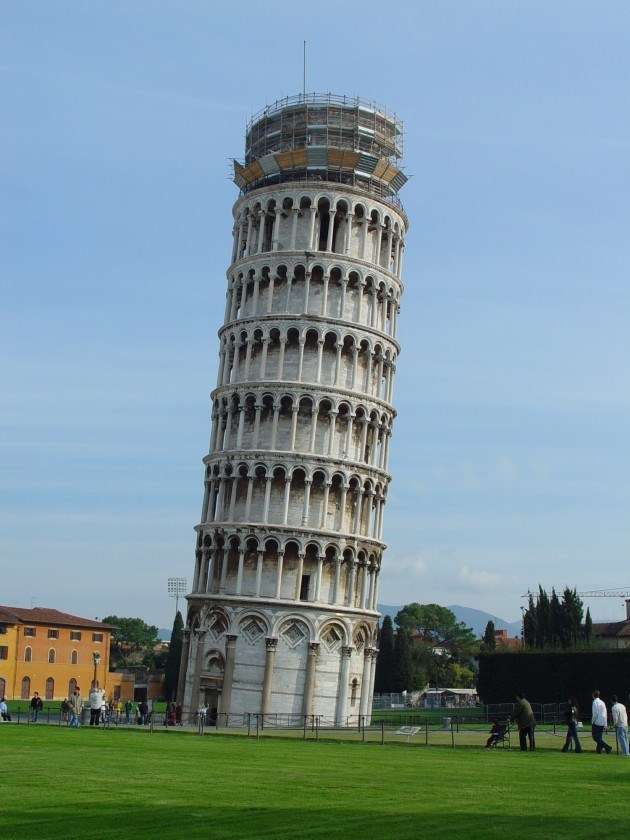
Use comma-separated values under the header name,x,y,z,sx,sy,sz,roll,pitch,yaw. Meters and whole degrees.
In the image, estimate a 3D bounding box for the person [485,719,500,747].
name,x,y,z,sx,sy,sz,roll,pitch,yaw
person,5.041,8.913,34.781,0.473,0.653,1.306,-2,-11,8
